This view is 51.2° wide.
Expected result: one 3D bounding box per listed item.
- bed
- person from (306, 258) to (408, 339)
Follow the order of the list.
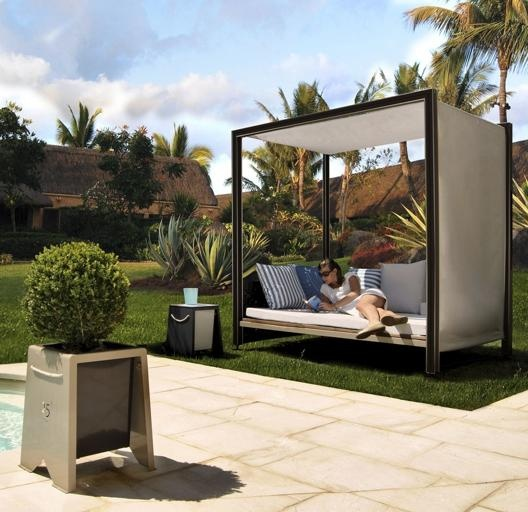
[{"bbox_3d":[0.821,0.759,5.311,2.404,0.624,1.111,-6,-4,35],"label":"bed"},{"bbox_3d":[0.571,0.733,5.509,1.457,0.329,0.841,4,6,9],"label":"person"}]
